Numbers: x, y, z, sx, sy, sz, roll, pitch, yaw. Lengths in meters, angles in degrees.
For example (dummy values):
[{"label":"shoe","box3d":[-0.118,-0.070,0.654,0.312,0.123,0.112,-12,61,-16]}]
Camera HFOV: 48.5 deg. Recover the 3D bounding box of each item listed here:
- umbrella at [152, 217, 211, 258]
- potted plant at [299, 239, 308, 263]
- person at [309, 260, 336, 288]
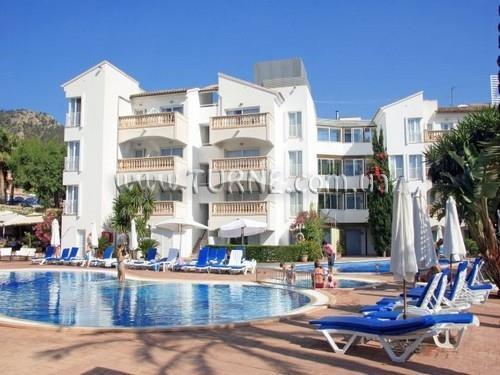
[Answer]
[{"label":"umbrella","box3d":[-5.159,3.726,40.727,2.544,1.998,2.984,1,-6,19]},{"label":"potted plant","box3d":[3.872,4.633,39.979,0.538,1.536,0.926,-2,-8,5]},{"label":"person","box3d":[3.065,3.789,24.179,1.247,1.400,0.882,-3,0,-36]}]
